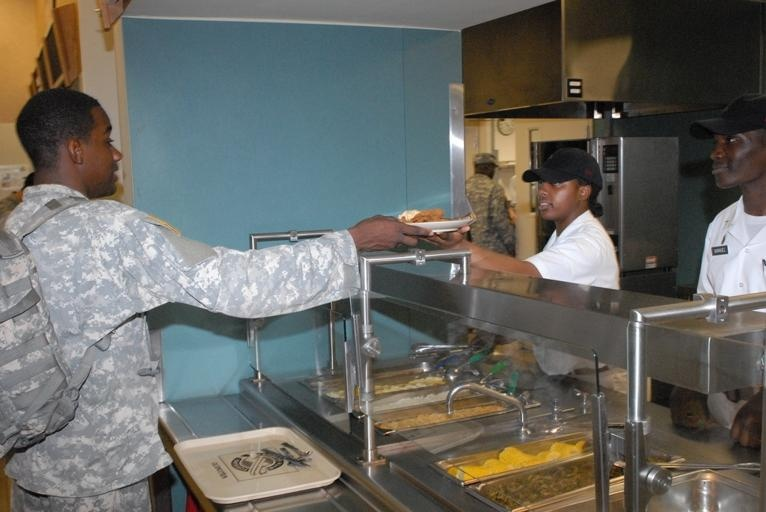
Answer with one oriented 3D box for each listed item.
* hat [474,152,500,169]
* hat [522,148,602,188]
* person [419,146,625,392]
[{"bbox_3d":[0.886,-0.810,5.279,0.225,0.104,0.162,-10,14,-44],"label":"hat"},{"bbox_3d":[0.811,-0.398,2.767,0.369,0.175,0.253,4,8,-31],"label":"hat"},{"bbox_3d":[0.675,0.220,2.778,0.856,1.316,0.587,-6,8,-7],"label":"person"}]
